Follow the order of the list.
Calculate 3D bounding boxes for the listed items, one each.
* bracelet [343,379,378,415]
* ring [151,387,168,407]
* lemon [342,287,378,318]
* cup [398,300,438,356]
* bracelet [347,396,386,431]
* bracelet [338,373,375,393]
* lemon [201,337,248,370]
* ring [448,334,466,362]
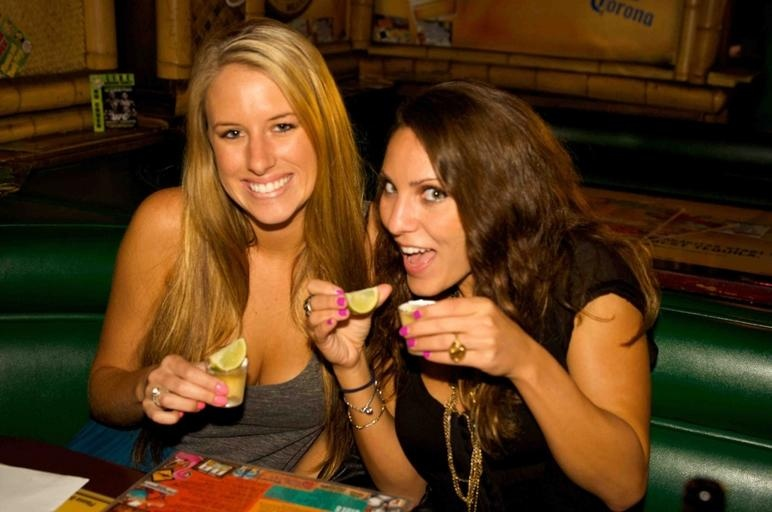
[{"bbox_3d":[-0.127,0.684,2.998,0.148,0.180,0.136,-9,-8,20],"label":"bracelet"},{"bbox_3d":[-0.919,0.575,2.529,0.030,0.076,0.059,-8,18,-39],"label":"ring"},{"bbox_3d":[-0.116,0.212,2.698,0.153,0.162,0.182,1,12,-12],"label":"lemon"},{"bbox_3d":[0.120,0.269,2.516,0.183,0.168,0.158,2,-1,-40],"label":"cup"},{"bbox_3d":[-0.090,0.763,2.978,0.189,0.171,0.046,-1,6,-4],"label":"bracelet"},{"bbox_3d":[-0.127,0.626,2.952,0.112,0.027,0.109,-12,3,5],"label":"bracelet"},{"bbox_3d":[-0.627,0.407,2.508,0.089,0.043,0.151,22,38,23],"label":"lemon"},{"bbox_3d":[0.276,0.361,2.365,0.066,0.107,0.021,5,12,7],"label":"ring"}]
